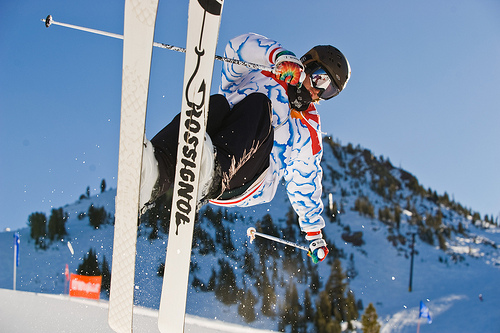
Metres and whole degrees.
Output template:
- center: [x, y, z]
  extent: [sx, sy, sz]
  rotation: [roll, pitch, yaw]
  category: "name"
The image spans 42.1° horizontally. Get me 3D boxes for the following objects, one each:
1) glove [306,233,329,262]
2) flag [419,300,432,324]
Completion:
- center: [1.504, 1.897, 15.296]
  extent: [0.493, 0.700, 0.324]
  rotation: [-35, 3, -24]
  category: "glove"
- center: [5.226, 4.358, 19.466]
  extent: [0.378, 0.640, 0.191]
  rotation: [-1, -15, 8]
  category: "flag"
